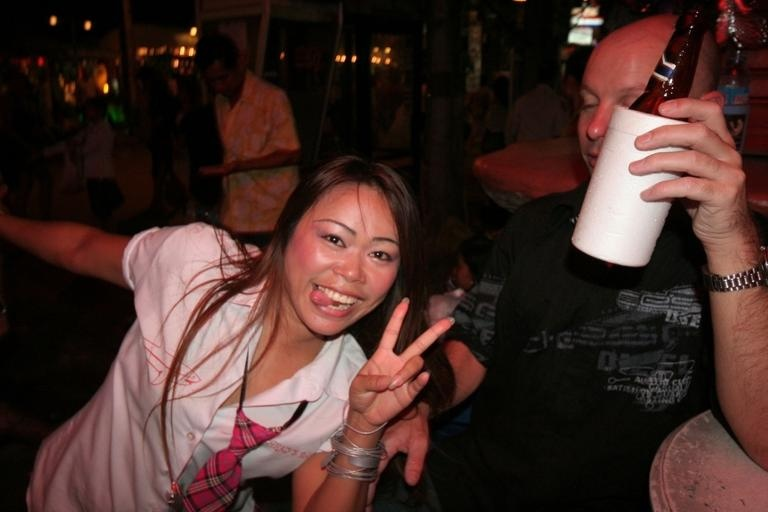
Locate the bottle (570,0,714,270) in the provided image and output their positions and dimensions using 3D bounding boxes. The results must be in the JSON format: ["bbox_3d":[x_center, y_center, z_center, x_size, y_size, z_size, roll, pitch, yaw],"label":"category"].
[{"bbox_3d":[0.943,-0.455,2.152,0.290,0.944,0.400,13,15,28],"label":"bottle"}]
